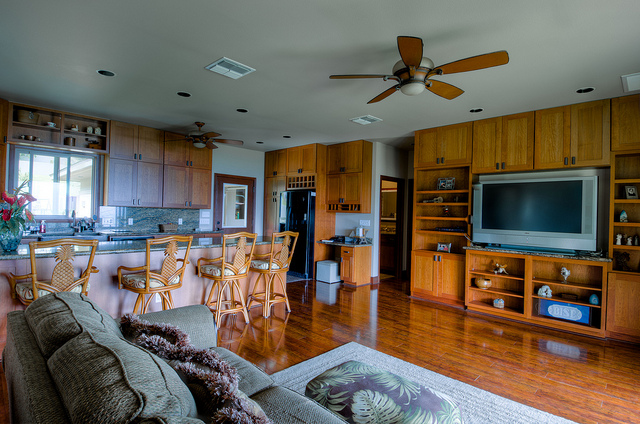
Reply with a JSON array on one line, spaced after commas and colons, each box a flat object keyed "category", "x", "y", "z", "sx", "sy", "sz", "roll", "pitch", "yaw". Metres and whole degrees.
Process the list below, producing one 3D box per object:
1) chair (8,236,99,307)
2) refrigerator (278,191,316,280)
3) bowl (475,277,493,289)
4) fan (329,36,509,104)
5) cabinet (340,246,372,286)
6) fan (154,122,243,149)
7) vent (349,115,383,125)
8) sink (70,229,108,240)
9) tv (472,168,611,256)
[{"category": "chair", "x": -2.743, "y": 0.621, "z": 4.321, "sx": 0.786, "sy": 0.933, "sz": 0.696, "roll": 0, "pitch": 12, "yaw": -41}, {"category": "refrigerator", "x": -0.357, "y": 0.442, "z": 8.363, "sx": 0.473, "sy": 1.700, "sz": 0.954, "roll": -7, "pitch": 16, "yaw": -32}, {"category": "bowl", "x": 2.443, "y": 1.076, "z": 6.336, "sx": 0.170, "sy": 0.102, "sz": 0.169, "roll": 0, "pitch": -3, "yaw": 0}, {"category": "fan", "x": 1.094, "y": -1.459, "z": 4.449, "sx": 1.430, "sy": 0.590, "sz": 0.879, "roll": 1, "pitch": 13, "yaw": -3}, {"category": "cabinet", "x": 0.665, "y": 0.986, "z": 8.035, "sx": 0.411, "sy": 0.689, "sz": 0.607, "roll": 4, "pitch": 5, "yaw": 42}, {"category": "fan", "x": -2.023, "y": -1.261, "z": 7.098, "sx": 0.659, "sy": 0.445, "sz": 1.680, "roll": -9, "pitch": 17, "yaw": -41}, {"category": "vent", "x": 0.712, "y": -1.427, "z": 6.592, "sx": 0.355, "sy": 0.039, "sz": 0.377, "roll": -4, "pitch": 6, "yaw": -28}, {"category": "sink", "x": -3.732, "y": 0.381, "z": 6.908, "sx": 0.442, "sy": 0.096, "sz": 0.406, "roll": 3, "pitch": 0, "yaw": 34}, {"category": "tv", "x": 3.202, "y": 0.021, "z": 5.967, "sx": 1.421, "sy": 0.919, "sz": 0.412, "roll": 1, "pitch": 0, "yaw": 38}]
